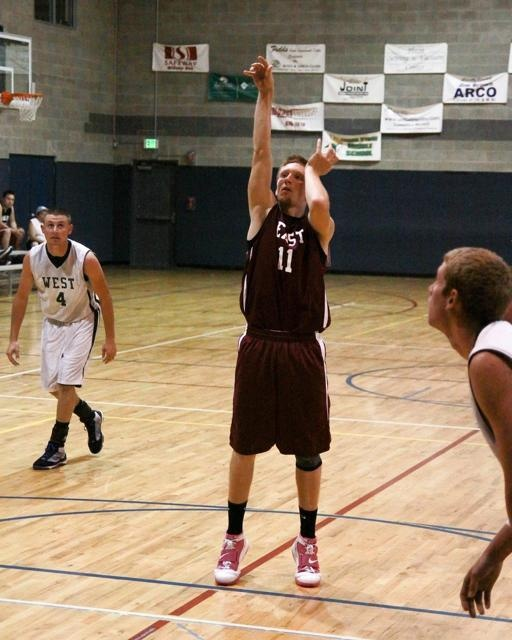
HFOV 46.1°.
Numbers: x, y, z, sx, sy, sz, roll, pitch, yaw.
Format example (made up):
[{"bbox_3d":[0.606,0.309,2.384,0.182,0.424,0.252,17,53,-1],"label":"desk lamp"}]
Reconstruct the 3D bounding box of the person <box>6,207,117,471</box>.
[{"bbox_3d":[-1.235,0.130,3.879,0.660,1.591,0.479,-1,1,-15],"label":"person"}]

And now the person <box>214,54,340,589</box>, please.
[{"bbox_3d":[0.098,0.054,2.220,0.386,1.849,0.294,0,1,7],"label":"person"}]

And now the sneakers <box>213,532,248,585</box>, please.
[{"bbox_3d":[-0.086,0.885,2.234,0.069,0.088,0.207,0,13,7],"label":"sneakers"}]

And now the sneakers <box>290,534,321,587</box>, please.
[{"bbox_3d":[0.184,0.898,2.222,0.067,0.085,0.197,1,3,-2],"label":"sneakers"}]

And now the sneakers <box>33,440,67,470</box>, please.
[{"bbox_3d":[-1.286,0.861,3.807,0.093,0.147,0.249,-1,-2,33],"label":"sneakers"}]
